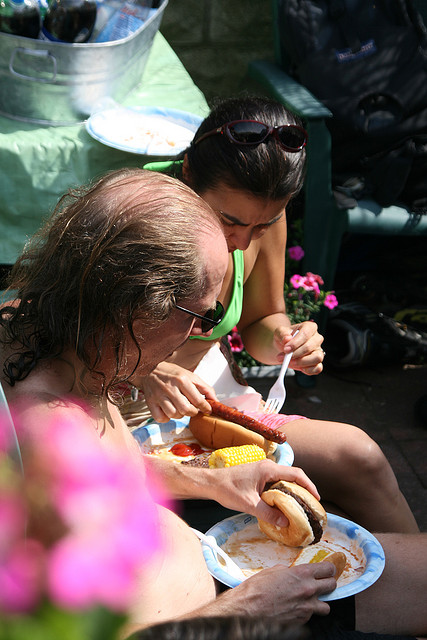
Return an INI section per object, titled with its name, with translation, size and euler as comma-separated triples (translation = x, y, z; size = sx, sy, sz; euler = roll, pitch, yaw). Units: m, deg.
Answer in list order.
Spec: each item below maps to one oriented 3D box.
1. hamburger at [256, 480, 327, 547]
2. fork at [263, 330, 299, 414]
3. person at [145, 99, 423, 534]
[hamburger]
translation = 0.188, 0.461, 1.286
size = 0.162, 0.173, 0.110
euler = 21, 38, 18
[fork]
translation = 0.236, 0.179, 1.843
size = 0.047, 0.037, 0.325
euler = 21, 57, 1
[person]
translation = 0.321, 0.249, 1.999
size = 0.831, 1.887, 0.923
euler = 25, 31, 33
